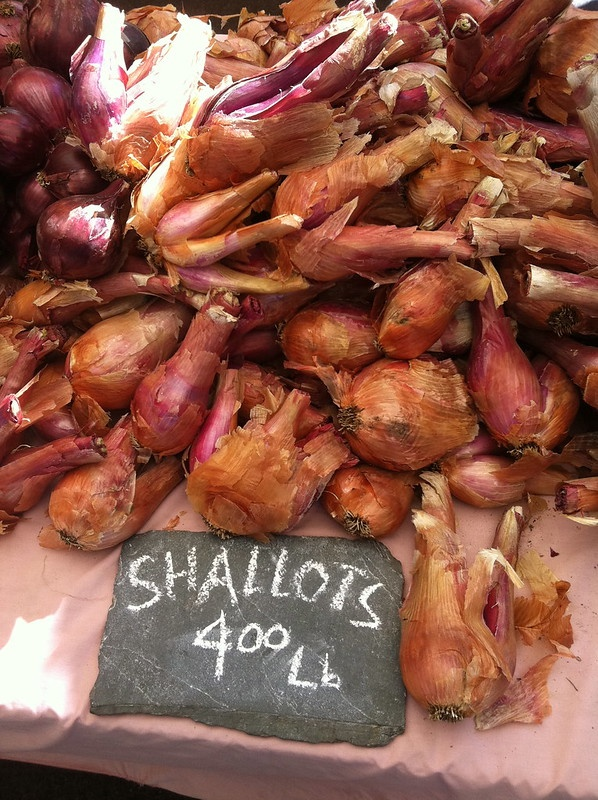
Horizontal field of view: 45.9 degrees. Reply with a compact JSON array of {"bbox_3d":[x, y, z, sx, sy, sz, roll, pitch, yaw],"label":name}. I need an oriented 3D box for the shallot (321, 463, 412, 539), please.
[{"bbox_3d":[0.135,0.199,1.329,0.161,0.075,0.111,-27,63,-11],"label":"shallot"}]

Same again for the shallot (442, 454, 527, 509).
[{"bbox_3d":[0.333,0.152,1.300,0.137,0.090,0.076,9,42,0],"label":"shallot"}]

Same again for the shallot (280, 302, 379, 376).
[{"bbox_3d":[0.050,-0.118,1.376,0.170,0.118,0.117,-6,67,-9],"label":"shallot"}]

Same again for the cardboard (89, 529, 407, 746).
[{"bbox_3d":[-0.081,0.410,1.253,0.529,0.080,0.344,6,60,0],"label":"cardboard"}]
